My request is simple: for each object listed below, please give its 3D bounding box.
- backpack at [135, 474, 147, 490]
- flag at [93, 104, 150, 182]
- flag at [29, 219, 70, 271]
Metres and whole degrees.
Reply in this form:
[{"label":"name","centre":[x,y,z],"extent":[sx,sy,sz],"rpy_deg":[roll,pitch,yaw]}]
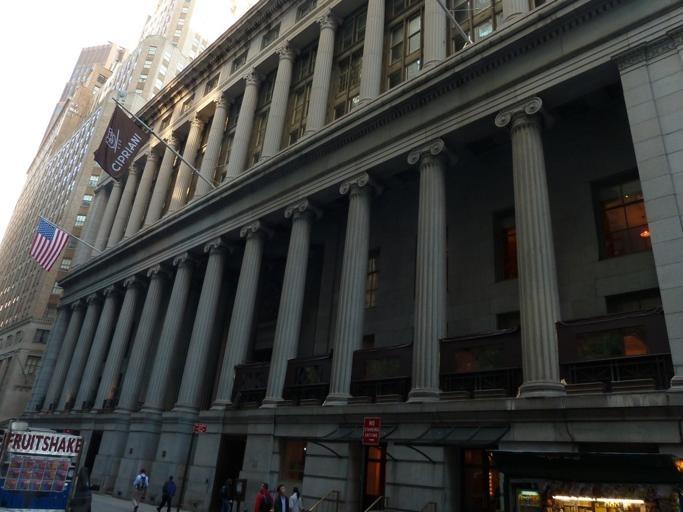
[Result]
[{"label":"backpack","centre":[-10.966,12.290,25.258],"extent":[0.381,0.844,0.979],"rpy_deg":[4,-26,-2]},{"label":"flag","centre":[-14.851,-8.029,31.493],"extent":[2.150,5.749,2.282],"rpy_deg":[26,-35,-38]},{"label":"flag","centre":[-25.337,-1.041,39.910],"extent":[2.478,4.703,1.956],"rpy_deg":[-12,-31,28]}]
